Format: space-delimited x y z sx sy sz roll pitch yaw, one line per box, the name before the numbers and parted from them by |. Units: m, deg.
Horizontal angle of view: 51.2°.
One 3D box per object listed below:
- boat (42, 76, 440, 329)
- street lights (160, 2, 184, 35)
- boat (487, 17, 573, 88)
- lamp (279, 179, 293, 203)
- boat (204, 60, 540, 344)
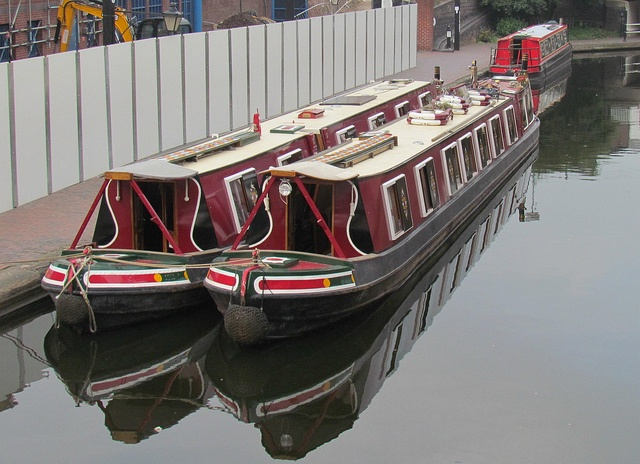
boat | -1.478 -0.440 11.137 1.763 2.021 8.240 12 26 23
street lights | -3.396 -4.973 15.509 0.636 0.918 0.670 1 16 -1
boat | 9.705 -7.860 31.006 2.409 2.843 8.503 7 26 24
lamp | -0.530 -0.621 9.838 0.248 0.115 0.548 15 -24 8
boat | 1.661 -1.428 13.534 2.461 2.773 11.565 10 30 28
